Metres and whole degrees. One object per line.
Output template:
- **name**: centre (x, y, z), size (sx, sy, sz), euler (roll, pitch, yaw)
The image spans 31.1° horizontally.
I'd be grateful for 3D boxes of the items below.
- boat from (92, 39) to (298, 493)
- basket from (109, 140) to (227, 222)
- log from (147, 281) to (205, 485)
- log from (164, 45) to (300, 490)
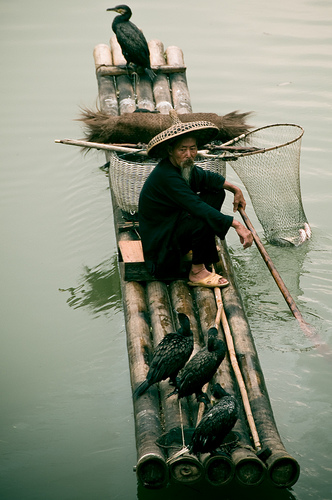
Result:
- **boat**: centre (-0.039, -0.416, 5.351), size (1.028, 5.772, 0.326), euler (-1, -64, -6)
- **basket**: centre (0.102, -0.630, 5.614), size (1.299, 0.556, 0.959), euler (0, -6, 16)
- **log**: centre (0.045, 0.780, 3.585), size (0.224, 1.274, 0.173), euler (10, -59, -9)
- **log**: centre (0.235, -0.296, 4.922), size (0.612, 4.724, 0.429), euler (3, -49, -8)
